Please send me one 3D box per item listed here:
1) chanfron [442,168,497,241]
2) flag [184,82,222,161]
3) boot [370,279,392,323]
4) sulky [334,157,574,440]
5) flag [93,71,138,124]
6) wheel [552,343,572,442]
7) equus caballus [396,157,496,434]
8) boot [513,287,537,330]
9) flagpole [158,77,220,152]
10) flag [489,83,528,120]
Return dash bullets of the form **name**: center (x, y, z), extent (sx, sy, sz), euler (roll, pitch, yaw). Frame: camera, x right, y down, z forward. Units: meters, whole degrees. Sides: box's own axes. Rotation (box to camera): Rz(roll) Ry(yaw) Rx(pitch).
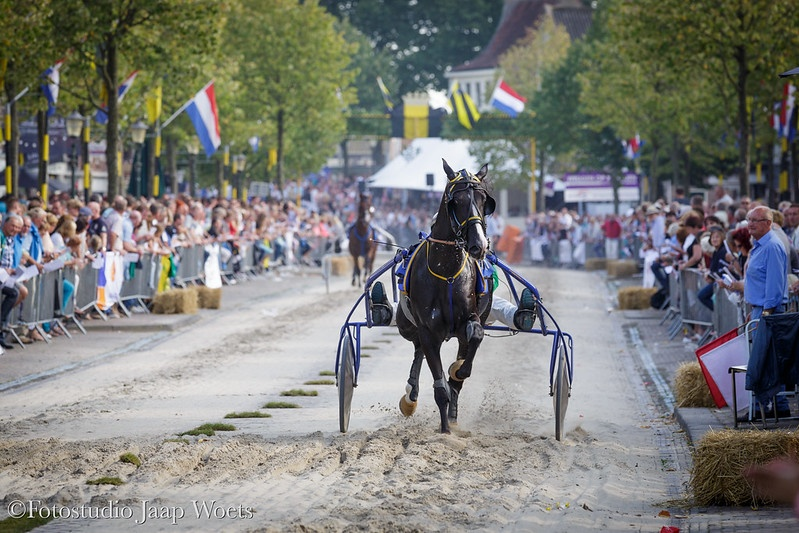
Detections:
- **chanfron**: center (1.294, -1.362, 30.995), extent (0.495, 1.043, 1.795), euler (-1, 3, -4)
- **flag**: center (-5.513, -4.152, 46.459), extent (0.730, 2.250, 0.680), euler (-6, 19, -10)
- **boot**: center (-0.363, 0.738, 31.434), extent (0.292, 0.945, 0.358), euler (3, 12, 16)
- **sulky**: center (0.695, 0.816, 32.842), extent (3.395, 3.962, 5.937), euler (4, -13, 0)
- **flag**: center (-7.720, -4.790, 45.103), extent (1.080, 1.839, 1.154), euler (2, 15, 19)
- **wheel**: center (3.041, 2.424, 31.217), extent (0.399, 1.692, 1.614), euler (-1, -6, 7)
- **equus caballus**: center (1.913, 0.268, 30.843), extent (1.428, 3.902, 5.502), euler (1, -6, -6)
- **boot**: center (2.368, 0.808, 31.255), extent (0.394, 0.772, 0.331), euler (4, -6, 4)
- **flagpole**: center (-5.811, -4.269, 46.673), extent (1.306, 2.335, 1.282), euler (-5, 18, -5)
- **flag**: center (4.763, -7.281, 70.014), extent (1.410, 1.517, 0.517), euler (45, 45, 18)
